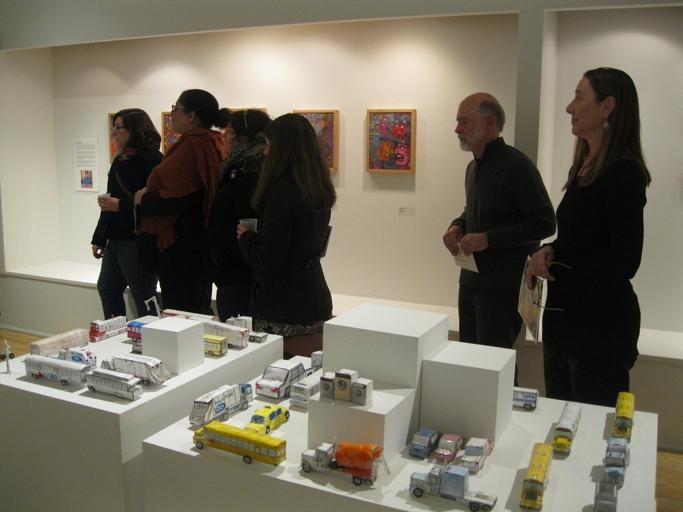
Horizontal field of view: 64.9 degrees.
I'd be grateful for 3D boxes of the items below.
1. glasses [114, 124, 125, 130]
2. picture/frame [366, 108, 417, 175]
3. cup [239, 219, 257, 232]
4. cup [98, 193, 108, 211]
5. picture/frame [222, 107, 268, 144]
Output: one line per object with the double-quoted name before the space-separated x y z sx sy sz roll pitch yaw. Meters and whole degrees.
"glasses" -2.101 -1.223 5.075 0.156 0.036 0.032 8 8 42
"picture/frame" 0.479 -1.080 4.970 0.518 0.667 0.044 5 12 24
"cup" -0.615 -0.209 3.555 0.081 0.093 0.081 1 5 0
"cup" -2.177 -0.496 4.935 0.082 0.161 0.348 -1 7 -25
"picture/frame" -0.708 -0.922 4.003 0.305 0.307 0.241 6 2 -12
